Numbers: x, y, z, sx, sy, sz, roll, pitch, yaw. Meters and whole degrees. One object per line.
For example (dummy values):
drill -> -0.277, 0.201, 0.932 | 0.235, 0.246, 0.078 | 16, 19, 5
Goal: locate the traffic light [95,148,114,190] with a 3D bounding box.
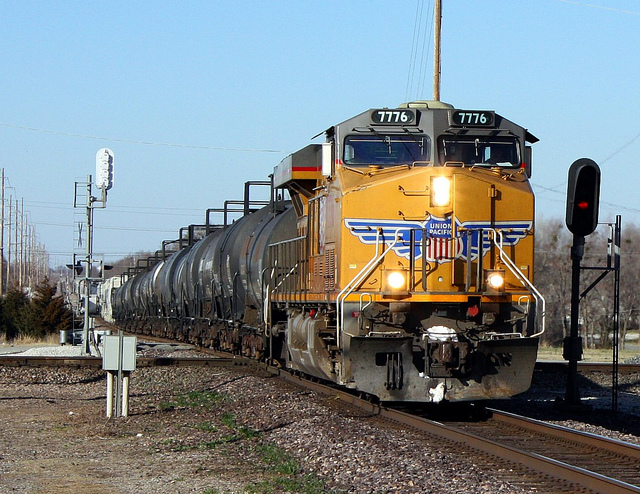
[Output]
traffic light -> -6.494, -2.366, 30.531 | 0.559, 1.341, 0.140 | 3, 20, -8

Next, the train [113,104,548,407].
train -> -0.982, 0.422, 31.877 | 4.878, 5.784, 28.996 | 2, -1, -12

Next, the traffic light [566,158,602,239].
traffic light -> 5.364, -1.027, 20.640 | 0.609, 1.511, 0.361 | 1, -1, 5
